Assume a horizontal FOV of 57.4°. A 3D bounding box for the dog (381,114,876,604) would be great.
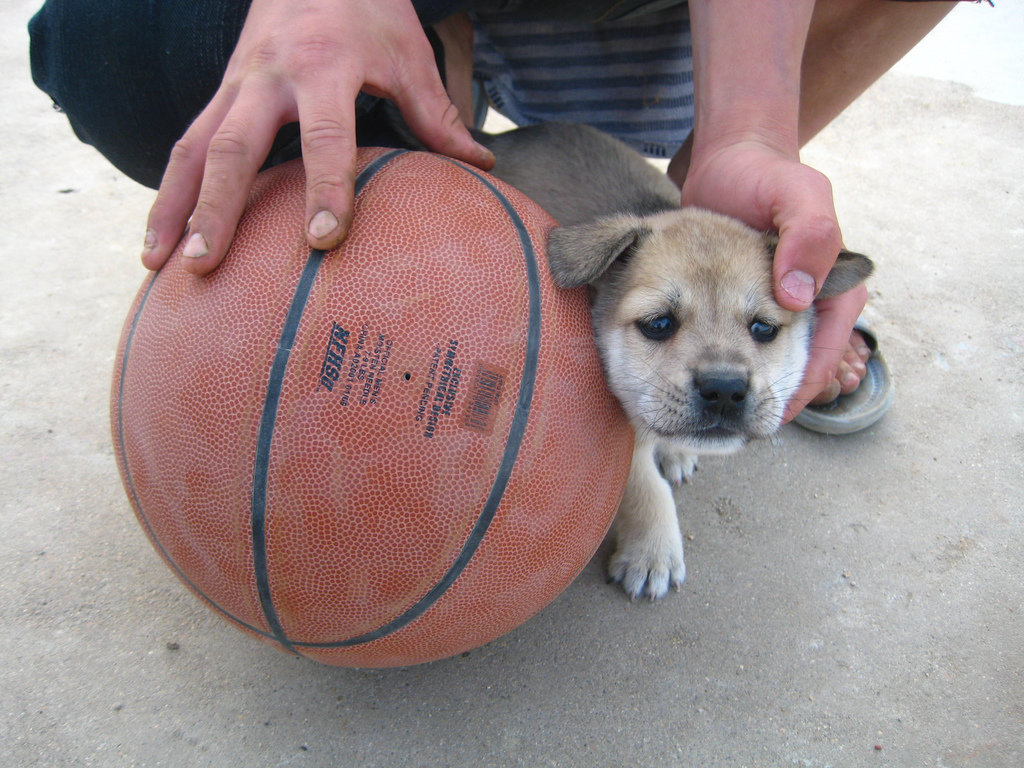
[{"bbox_3d":[0.435,-0.978,4.369,1.128,1.411,3.253,-10,66,-29],"label":"dog"}]
